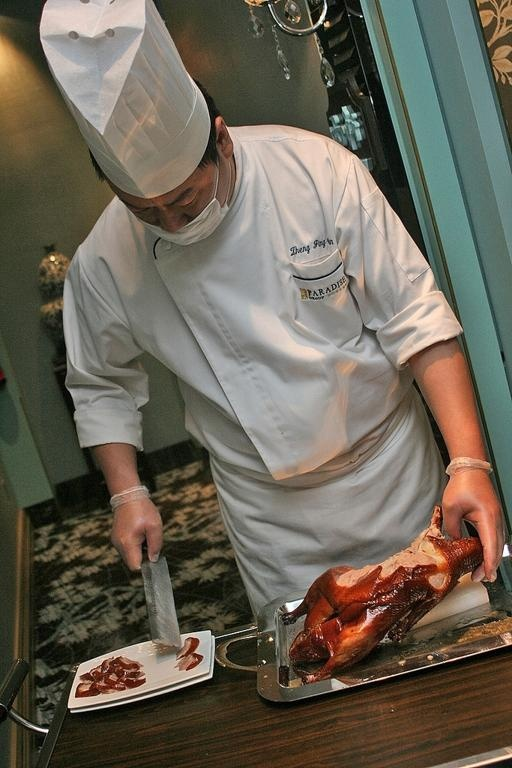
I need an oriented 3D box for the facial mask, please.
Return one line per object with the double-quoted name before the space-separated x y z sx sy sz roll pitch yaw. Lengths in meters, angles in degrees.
"facial mask" -0.118 -0.268 1.023 0.106 0.116 0.155 -5 16 46
